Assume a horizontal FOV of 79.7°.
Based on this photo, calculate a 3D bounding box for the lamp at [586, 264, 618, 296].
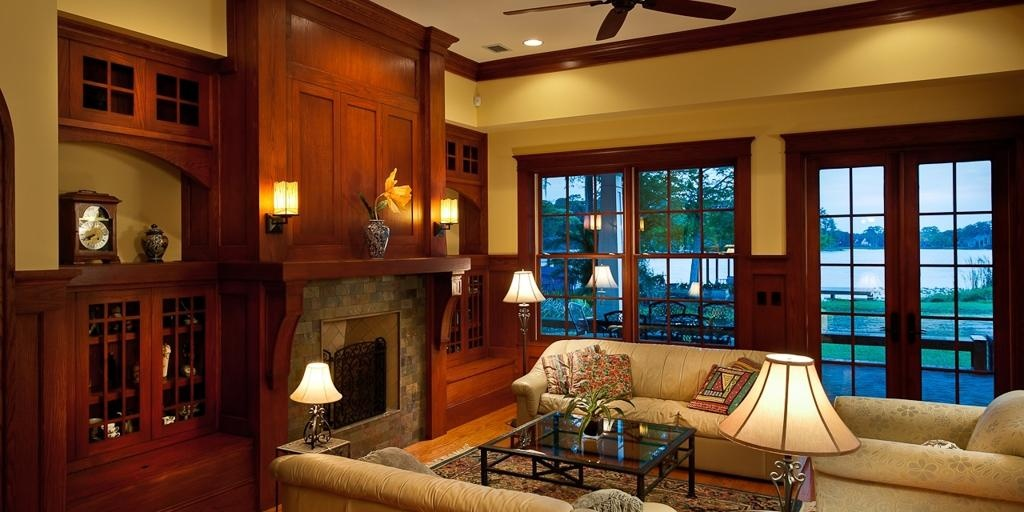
[{"bbox_3d":[1.383,0.327,9.311,0.494,0.481,0.409,2,-7,-9],"label":"lamp"}]

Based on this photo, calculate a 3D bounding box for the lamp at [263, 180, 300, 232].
[{"bbox_3d":[-2.523,-0.556,6.758,0.334,0.590,0.160,-3,1,16],"label":"lamp"}]

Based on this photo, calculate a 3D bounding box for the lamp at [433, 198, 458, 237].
[{"bbox_3d":[-0.878,-0.557,8.238,0.258,0.483,0.359,-3,1,8],"label":"lamp"}]

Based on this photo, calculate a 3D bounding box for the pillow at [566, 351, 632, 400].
[{"bbox_3d":[1.232,1.624,8.252,0.722,0.569,0.189,-3,-35,9],"label":"pillow"}]

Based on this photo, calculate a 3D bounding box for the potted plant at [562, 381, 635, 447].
[{"bbox_3d":[0.980,1.806,7.151,0.664,0.376,0.645,-1,-4,35],"label":"potted plant"}]

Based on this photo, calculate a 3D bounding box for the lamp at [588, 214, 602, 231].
[{"bbox_3d":[1.258,-0.528,9.366,0.263,0.239,0.236,1,-2,-11],"label":"lamp"}]

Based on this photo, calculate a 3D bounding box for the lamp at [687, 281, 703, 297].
[{"bbox_3d":[2.647,0.471,8.853,0.227,0.177,0.219,-1,1,27],"label":"lamp"}]

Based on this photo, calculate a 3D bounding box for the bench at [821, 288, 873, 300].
[{"bbox_3d":[4.498,0.509,8.244,0.638,0.091,0.018,-2,1,17],"label":"bench"}]

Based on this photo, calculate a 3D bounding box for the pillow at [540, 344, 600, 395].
[{"bbox_3d":[0.749,1.477,7.980,0.697,0.545,0.182,-4,-30,2],"label":"pillow"}]

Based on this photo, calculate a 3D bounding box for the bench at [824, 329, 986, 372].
[{"bbox_3d":[5.281,1.266,8.027,1.717,0.322,0.060,-2,1,14],"label":"bench"}]

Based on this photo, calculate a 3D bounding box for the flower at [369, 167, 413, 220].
[{"bbox_3d":[-1.530,-0.785,7.643,0.466,0.523,0.571,-12,-15,-27],"label":"flower"}]

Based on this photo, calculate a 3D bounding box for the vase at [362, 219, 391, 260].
[{"bbox_3d":[-1.639,-0.221,7.414,0.271,0.462,0.171,-3,1,2],"label":"vase"}]
